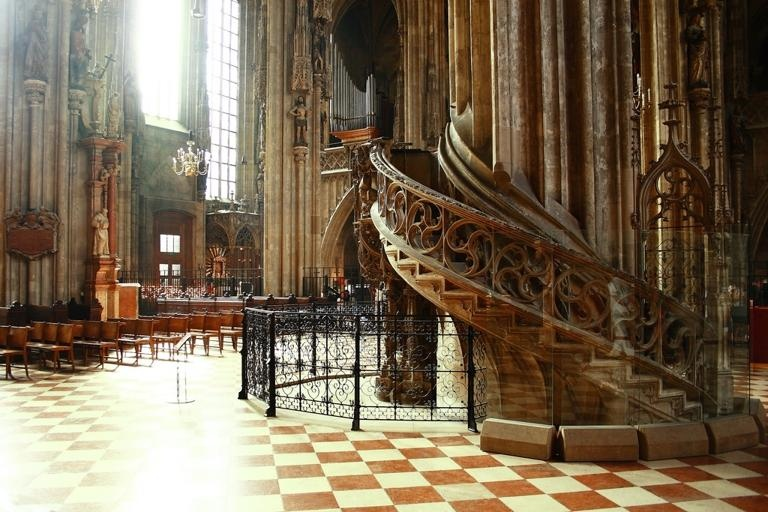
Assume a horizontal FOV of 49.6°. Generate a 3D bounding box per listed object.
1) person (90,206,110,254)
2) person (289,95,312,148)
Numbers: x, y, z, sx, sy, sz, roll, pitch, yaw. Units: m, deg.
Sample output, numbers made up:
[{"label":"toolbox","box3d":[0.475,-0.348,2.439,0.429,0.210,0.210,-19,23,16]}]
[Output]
[{"label":"person","box3d":[-7.061,-0.598,20.562,0.438,1.219,0.254,3,-8,-33]},{"label":"person","box3d":[-2.635,-4.120,25.283,0.546,1.511,0.419,0,-6,-7]}]
